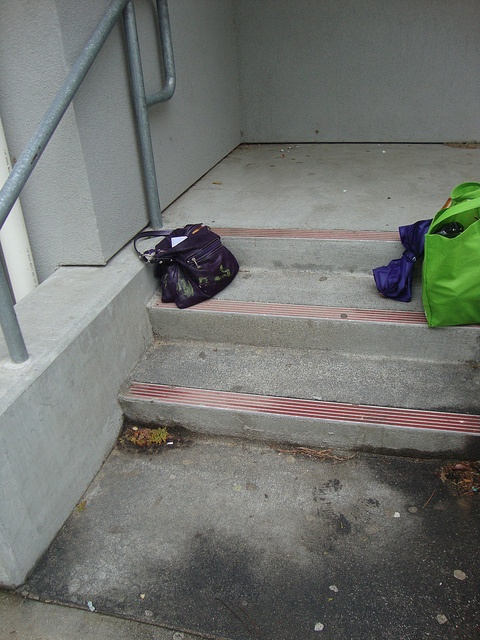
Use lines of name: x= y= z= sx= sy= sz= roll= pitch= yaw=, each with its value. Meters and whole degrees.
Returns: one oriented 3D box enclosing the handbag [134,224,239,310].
handbag: x=-0.351 y=-0.339 z=3.016 sx=0.542 sy=0.355 sz=0.479 roll=9 pitch=29 yaw=24
